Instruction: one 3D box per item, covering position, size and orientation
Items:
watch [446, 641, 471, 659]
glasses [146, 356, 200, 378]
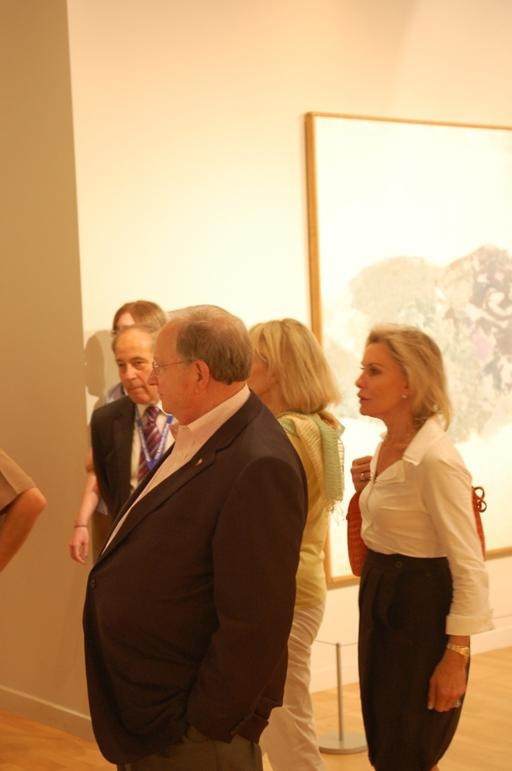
[{"bbox_3d":[0.498,0.637,1.565,0.041,0.016,0.040,17,-7,37],"label":"watch"},{"bbox_3d":[-0.166,-0.043,1.269,0.078,0.021,0.074,-9,4,-8],"label":"glasses"}]
